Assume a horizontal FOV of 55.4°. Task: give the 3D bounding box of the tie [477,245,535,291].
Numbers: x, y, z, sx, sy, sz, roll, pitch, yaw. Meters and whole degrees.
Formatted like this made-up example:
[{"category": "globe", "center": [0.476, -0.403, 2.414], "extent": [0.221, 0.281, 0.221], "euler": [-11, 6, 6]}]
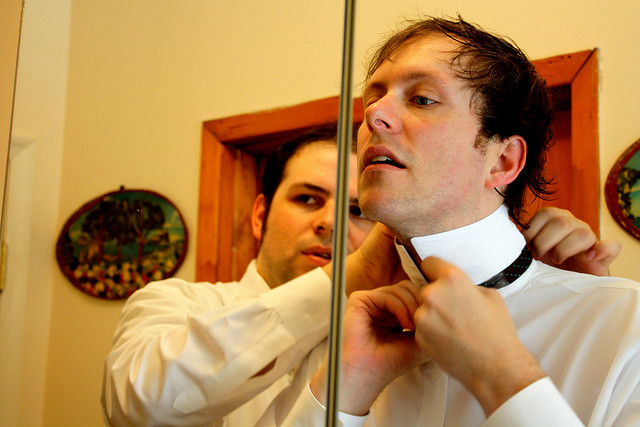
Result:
[{"category": "tie", "center": [0.291, 0.098, 1.015], "extent": [0.103, 0.029, 0.110], "euler": [-22, 7, 37]}]
